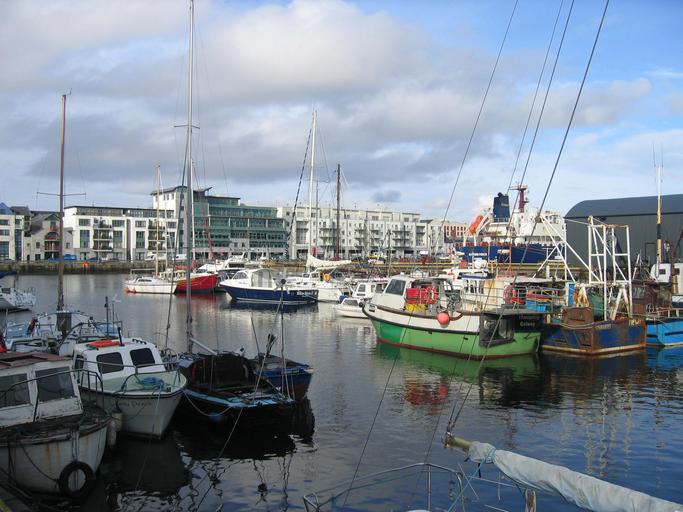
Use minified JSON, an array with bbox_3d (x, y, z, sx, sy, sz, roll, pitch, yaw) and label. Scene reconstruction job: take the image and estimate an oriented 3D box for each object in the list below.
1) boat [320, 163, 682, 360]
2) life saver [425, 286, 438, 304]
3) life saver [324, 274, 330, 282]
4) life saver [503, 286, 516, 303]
[{"bbox_3d":[11.195,1.445,46.837,17.312,7.100,9.592,1,-1,-31],"label":"boat"},{"bbox_3d":[4.620,1.918,44.305,0.554,0.822,0.305,-3,-11,44],"label":"life saver"},{"bbox_3d":[-1.263,1.759,75.823,0.377,0.582,0.535,3,14,1],"label":"life saver"},{"bbox_3d":[8.282,1.892,42.752,0.370,0.856,1.059,10,31,31],"label":"life saver"}]
